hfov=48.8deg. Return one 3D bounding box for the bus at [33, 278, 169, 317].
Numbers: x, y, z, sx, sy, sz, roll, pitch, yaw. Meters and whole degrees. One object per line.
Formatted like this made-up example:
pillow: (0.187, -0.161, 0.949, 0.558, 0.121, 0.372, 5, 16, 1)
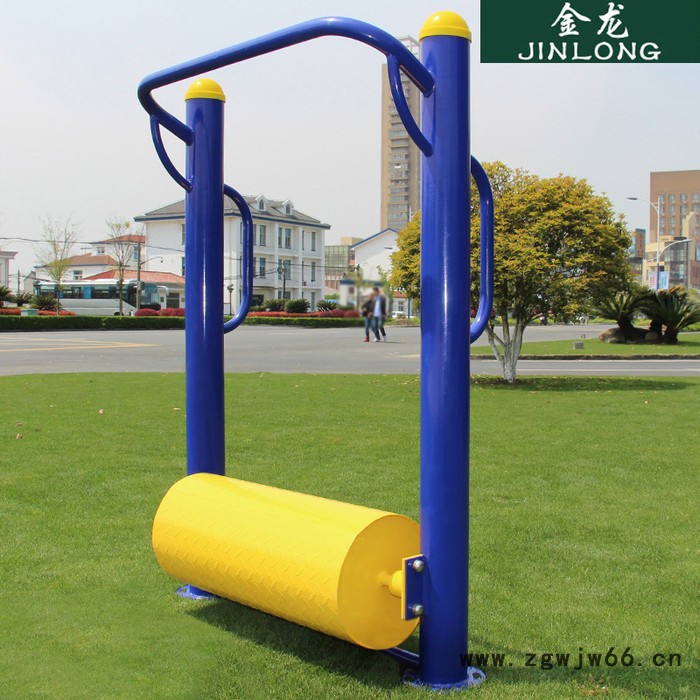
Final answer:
bus: (-19.682, -4.106, 60.890, 10.804, 3.888, 3.958, 0, 8, 11)
